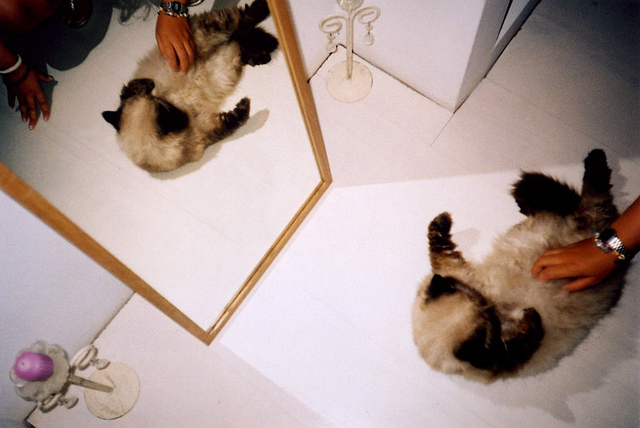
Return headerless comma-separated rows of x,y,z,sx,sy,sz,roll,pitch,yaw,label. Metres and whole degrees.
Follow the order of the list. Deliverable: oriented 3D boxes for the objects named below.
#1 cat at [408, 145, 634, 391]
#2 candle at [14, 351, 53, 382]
0.740,0.224,1.775,0.535,0.321,0.754,44,99,24,cat
-0.786,0.414,1.374,0.084,0.096,0.092,6,72,5,candle
